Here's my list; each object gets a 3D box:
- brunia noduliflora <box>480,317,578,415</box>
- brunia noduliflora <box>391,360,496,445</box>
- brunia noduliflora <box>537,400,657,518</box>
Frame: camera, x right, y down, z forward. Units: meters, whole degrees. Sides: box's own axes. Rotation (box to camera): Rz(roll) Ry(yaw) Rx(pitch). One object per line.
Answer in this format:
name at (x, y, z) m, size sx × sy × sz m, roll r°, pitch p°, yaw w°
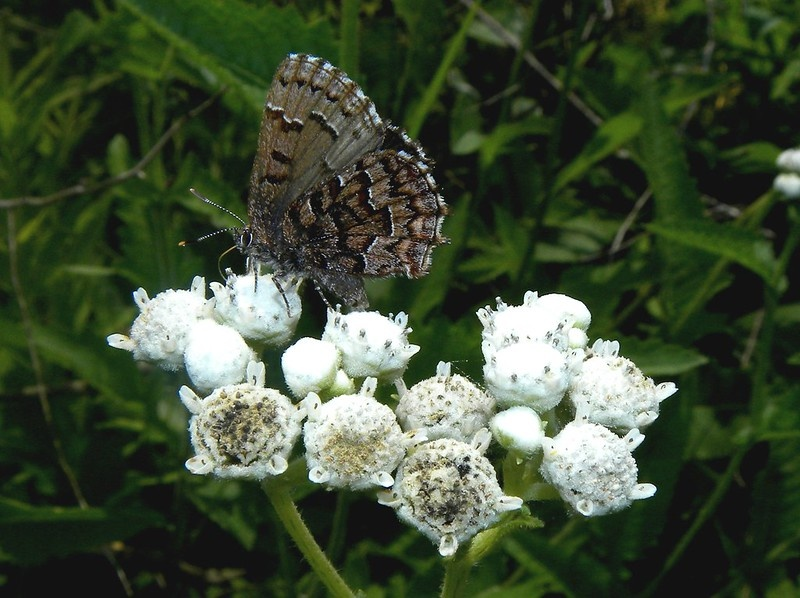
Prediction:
brunia noduliflora at (0.621, 0.376, 5.178) m, size 0.412 × 0.197 × 0.327 m, roll 11°, pitch 69°, yaw 2°
brunia noduliflora at (0.206, 0.471, 5.166) m, size 0.430 × 0.225 × 0.398 m, roll 18°, pitch 32°, yaw 32°
brunia noduliflora at (0.925, 0.811, 4.985) m, size 0.478 × 0.203 × 0.481 m, roll -36°, pitch 84°, yaw -5°
